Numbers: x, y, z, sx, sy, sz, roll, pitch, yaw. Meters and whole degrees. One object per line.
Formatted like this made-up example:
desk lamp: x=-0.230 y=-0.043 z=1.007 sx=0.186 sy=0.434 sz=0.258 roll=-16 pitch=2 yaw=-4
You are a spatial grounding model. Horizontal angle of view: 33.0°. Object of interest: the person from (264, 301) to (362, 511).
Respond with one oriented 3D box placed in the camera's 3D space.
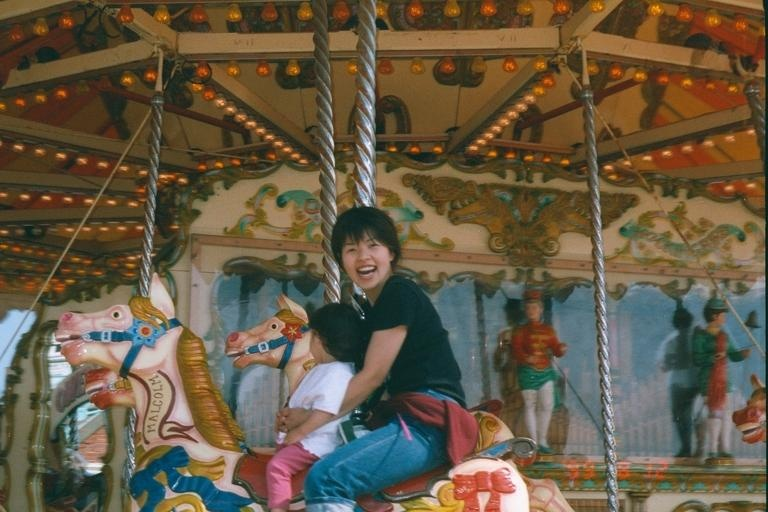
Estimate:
person: x=-0.581 y=1.274 z=10.885 sx=0.402 sy=1.677 sz=0.835 roll=14 pitch=-24 yaw=-39
